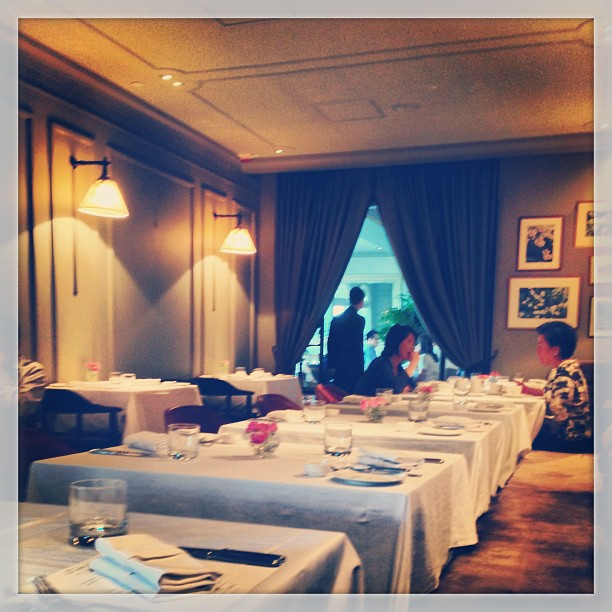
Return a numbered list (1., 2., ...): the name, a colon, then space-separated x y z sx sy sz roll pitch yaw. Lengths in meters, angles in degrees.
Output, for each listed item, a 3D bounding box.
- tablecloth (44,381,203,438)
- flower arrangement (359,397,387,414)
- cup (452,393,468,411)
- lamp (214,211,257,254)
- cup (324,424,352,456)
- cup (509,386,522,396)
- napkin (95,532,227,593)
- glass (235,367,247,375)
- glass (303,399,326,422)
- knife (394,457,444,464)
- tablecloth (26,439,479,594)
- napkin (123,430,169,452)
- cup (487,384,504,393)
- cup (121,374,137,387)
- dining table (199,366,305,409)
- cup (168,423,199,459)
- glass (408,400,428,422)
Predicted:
1. tablecloth: -1.247 0.706 4.245 0.742 0.226 0.666 -3 -8 15
2. flower arrangement: 0.317 0.467 2.715 0.097 0.072 0.089 -4 -3 22
3. cup: 0.914 0.569 3.407 0.115 0.107 0.070 3 5 36
4. lamp: -0.647 -0.783 6.224 0.588 0.443 0.483 3 1 14
5. cup: 0.097 0.404 1.742 0.109 0.088 0.095 0 -6 3
6. cup: 1.527 0.617 4.193 0.082 0.051 0.074 1 -10 -4
7. napkin: -0.230 0.364 0.834 0.123 0.025 0.088 8 3 26
8. glass: -0.756 0.736 6.566 0.106 0.096 0.119 4 24 23
9. glass: 0.037 0.470 2.579 0.115 0.090 0.107 1 -5 -2
10. knife: 0.320 0.443 1.650 0.129 0.014 0.021 10 -6 -17
11. tablecloth: -0.208 0.493 1.618 1.071 0.195 0.605 -2 -3 20
12. napkin: -0.508 0.431 1.838 0.082 0.020 0.078 1 -1 29
13. cup: 1.423 0.614 4.284 0.088 0.050 0.071 1 0 11
14. cup: -1.362 0.568 4.402 0.098 0.073 0.086 -1 -6 -5
15. dining table: -0.415 0.795 6.079 0.834 0.255 0.769 -3 -9 24
16. cup: -0.369 0.402 1.724 0.114 0.091 0.101 -1 -3 23
17. glass: 0.497 0.465 2.549 0.088 0.073 0.098 0 -4 3
